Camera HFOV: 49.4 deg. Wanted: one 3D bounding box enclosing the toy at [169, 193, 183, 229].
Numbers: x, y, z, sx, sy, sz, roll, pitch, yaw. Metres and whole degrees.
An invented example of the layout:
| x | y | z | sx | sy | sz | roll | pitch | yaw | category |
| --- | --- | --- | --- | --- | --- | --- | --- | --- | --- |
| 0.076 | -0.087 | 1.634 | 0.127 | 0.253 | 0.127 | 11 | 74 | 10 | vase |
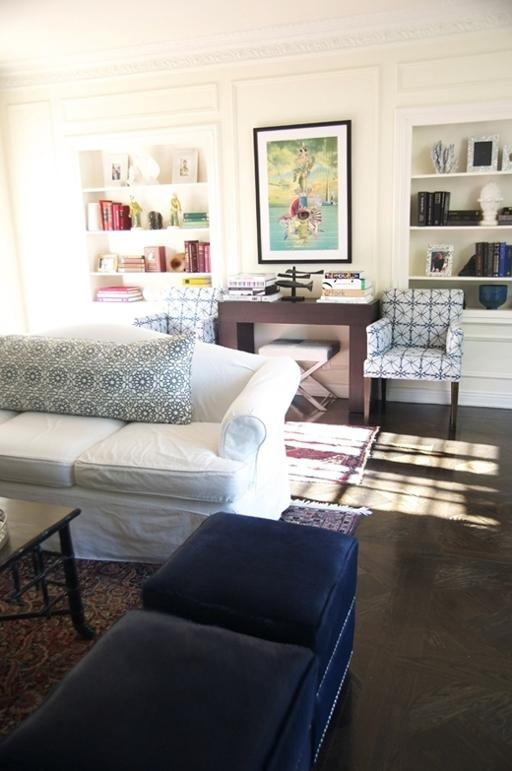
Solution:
| x | y | z | sx | sy | sz | roll | pitch | yaw | category |
| --- | --- | --- | --- | --- | --- | --- | --- | --- | --- |
| -0.732 | -1.592 | 5.081 | 0.121 | 0.295 | 0.251 | -3 | 11 | -8 | toy |

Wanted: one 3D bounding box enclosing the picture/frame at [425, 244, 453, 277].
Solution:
| x | y | z | sx | sy | sz | roll | pitch | yaw | category |
| --- | --- | --- | --- | --- | --- | --- | --- | --- | --- |
| 1.437 | -0.972 | 4.320 | 0.268 | 0.356 | 0.035 | 4 | 6 | 18 | picture/frame |

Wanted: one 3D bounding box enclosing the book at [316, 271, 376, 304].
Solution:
| x | y | z | sx | sy | sz | roll | pitch | yaw | category |
| --- | --- | --- | --- | --- | --- | --- | --- | --- | --- |
| 0.686 | -0.713 | 4.263 | 0.294 | 0.183 | 0.302 | 3 | 7 | 25 | book |

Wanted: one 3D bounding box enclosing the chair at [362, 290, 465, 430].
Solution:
| x | y | z | sx | sy | sz | roll | pitch | yaw | category |
| --- | --- | --- | --- | --- | --- | --- | --- | --- | --- |
| 1.171 | -0.229 | 4.088 | 0.652 | 0.931 | 0.852 | 3 | 12 | 20 | chair |

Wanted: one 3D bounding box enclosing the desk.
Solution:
| x | y | z | sx | sy | sz | roll | pitch | yaw | category |
| --- | --- | --- | --- | --- | --- | --- | --- | --- | --- |
| 0.342 | -0.228 | 3.879 | 0.854 | 0.671 | 0.308 | 4 | 12 | 18 | desk |

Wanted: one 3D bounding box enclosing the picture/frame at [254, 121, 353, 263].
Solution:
| x | y | z | sx | sy | sz | roll | pitch | yaw | category |
| --- | --- | --- | --- | --- | --- | --- | --- | --- | --- |
| 0.408 | -1.588 | 4.444 | 1.101 | 1.392 | 0.049 | 2 | 11 | 17 | picture/frame |

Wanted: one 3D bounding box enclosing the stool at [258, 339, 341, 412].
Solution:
| x | y | z | sx | sy | sz | roll | pitch | yaw | category |
| --- | --- | --- | --- | --- | --- | --- | --- | --- | --- |
| 0.392 | -0.114 | 4.647 | 0.669 | 0.584 | 0.541 | 5 | 13 | 18 | stool |
